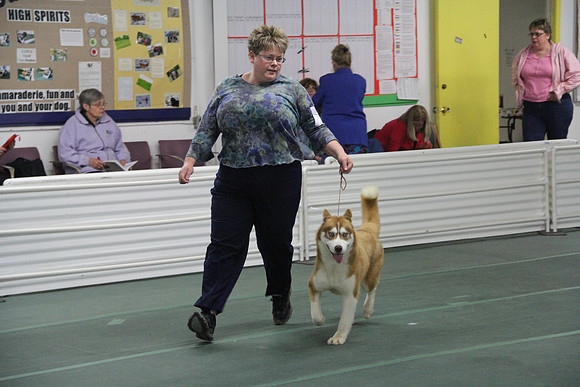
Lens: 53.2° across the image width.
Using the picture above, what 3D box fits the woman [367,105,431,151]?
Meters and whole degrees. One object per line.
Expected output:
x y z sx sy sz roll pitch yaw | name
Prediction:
1.629 -0.900 8.079 0.514 0.446 0.910 -17 9 -41 | woman

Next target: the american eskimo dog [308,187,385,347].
0.490 0.580 5.041 0.505 1.182 1.513 3 8 22 | american eskimo dog

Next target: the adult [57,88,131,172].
-2.666 -0.795 7.985 0.943 1.212 0.878 -2 12 -34 | adult

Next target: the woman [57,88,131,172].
-2.664 -0.797 7.988 0.954 1.216 0.857 -4 11 -41 | woman

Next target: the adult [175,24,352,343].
-0.210 -0.119 4.574 1.408 2.381 1.259 3 -4 -42 | adult

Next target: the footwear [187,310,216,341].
-0.688 1.047 4.689 0.166 0.277 0.289 -15 -10 22 | footwear

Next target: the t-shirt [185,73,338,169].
-0.210 -0.591 4.711 1.253 0.763 0.546 2 5 8 | t-shirt

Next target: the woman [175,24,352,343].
-0.197 -0.109 4.617 1.219 2.375 1.458 -3 -3 45 | woman

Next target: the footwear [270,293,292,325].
-0.063 1.011 5.105 0.168 0.253 0.260 -5 -3 -11 | footwear

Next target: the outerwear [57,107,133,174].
-2.712 -0.730 8.064 1.005 0.877 0.648 -5 13 -44 | outerwear

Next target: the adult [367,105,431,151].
1.622 -0.870 8.025 0.514 0.446 0.910 -17 9 -41 | adult

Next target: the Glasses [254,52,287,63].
-0.146 -1.054 4.506 0.217 0.073 0.125 -4 11 -11 | Glasses
